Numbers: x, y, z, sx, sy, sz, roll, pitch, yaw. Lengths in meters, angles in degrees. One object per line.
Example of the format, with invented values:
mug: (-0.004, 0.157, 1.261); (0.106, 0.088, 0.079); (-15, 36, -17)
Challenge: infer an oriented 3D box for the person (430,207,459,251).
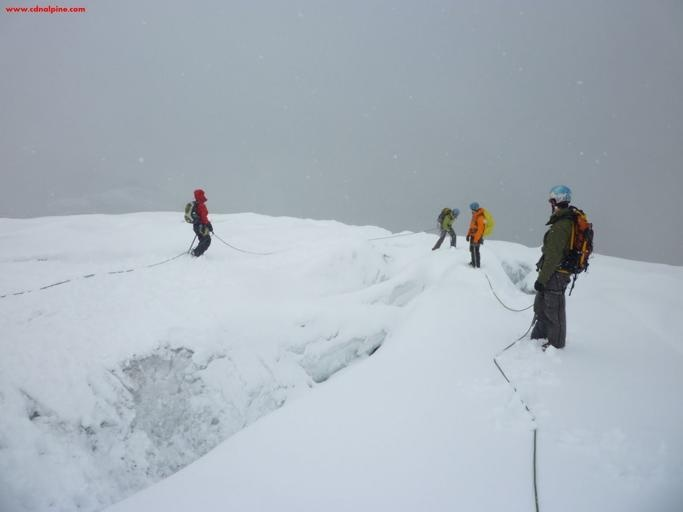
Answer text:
person: (2.430, -0.647, 15.960); (0.558, 1.134, 0.480); (-3, 33, -4)

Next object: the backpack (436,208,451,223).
backpack: (2.334, -0.869, 15.678); (0.263, 0.395, 0.583); (3, 18, 6)

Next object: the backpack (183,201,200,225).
backpack: (-2.890, -0.841, 13.234); (0.199, 0.432, 0.390); (-10, 21, -31)
